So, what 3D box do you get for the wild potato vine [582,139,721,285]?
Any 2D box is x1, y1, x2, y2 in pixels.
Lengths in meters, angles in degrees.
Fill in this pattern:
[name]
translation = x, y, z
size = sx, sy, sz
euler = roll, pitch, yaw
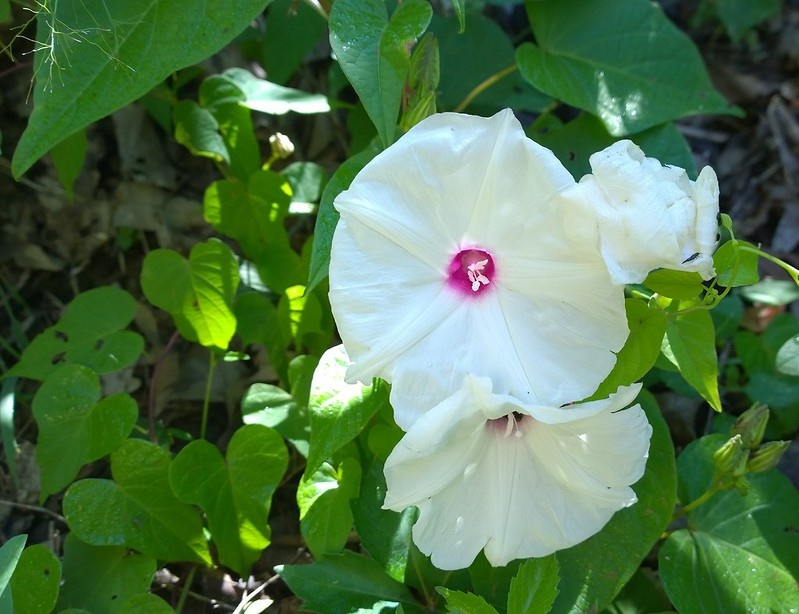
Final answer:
[wild potato vine]
translation = 0.653, -0.238, 2.115
size = 0.371, 0.392, 0.183
euler = -21, 18, -19
